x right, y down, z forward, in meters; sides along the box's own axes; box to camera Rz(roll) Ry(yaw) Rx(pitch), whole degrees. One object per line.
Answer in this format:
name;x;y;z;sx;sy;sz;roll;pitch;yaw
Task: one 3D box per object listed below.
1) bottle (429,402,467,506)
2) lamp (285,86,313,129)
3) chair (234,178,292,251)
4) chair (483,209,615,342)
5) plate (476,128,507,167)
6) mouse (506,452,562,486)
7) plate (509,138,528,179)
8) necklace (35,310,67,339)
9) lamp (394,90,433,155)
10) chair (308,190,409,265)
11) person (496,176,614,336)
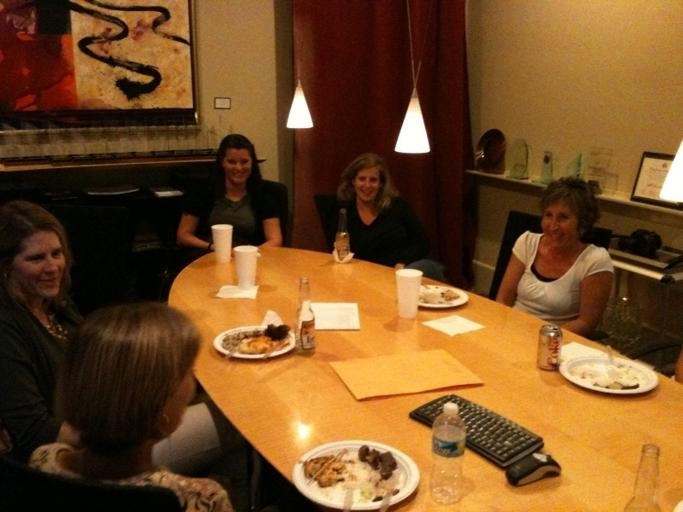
bottle;0.276;0.505;1.388;0.087;0.214;0.160;3;20;11
lamp;-0.289;-1.079;3.795;0.199;0.344;0.192;-12;23;-19
chair;-0.658;-0.318;4.080;0.475;0.577;0.401;-2;4;-13
chair;1.059;0.058;2.738;0.465;0.779;0.564;-4;14;-42
plate;1.279;-0.912;4.568;0.248;0.354;0.123;7;22;23
mouse;0.506;0.569;1.416;0.135;0.049;0.069;-13;17;-20
plate;1.430;-0.794;4.282;0.156;0.297;0.363;5;20;16
necklace;-1.162;0.270;2.144;0.119;0.031;0.070;51;38;7
lamp;0.434;-0.815;3.242;0.208;0.408;0.387;1;20;7
chair;0.139;-0.202;3.643;0.561;0.694;0.489;6;15;21
person;1.056;0.028;2.747;0.615;0.812;0.552;-12;21;-38
